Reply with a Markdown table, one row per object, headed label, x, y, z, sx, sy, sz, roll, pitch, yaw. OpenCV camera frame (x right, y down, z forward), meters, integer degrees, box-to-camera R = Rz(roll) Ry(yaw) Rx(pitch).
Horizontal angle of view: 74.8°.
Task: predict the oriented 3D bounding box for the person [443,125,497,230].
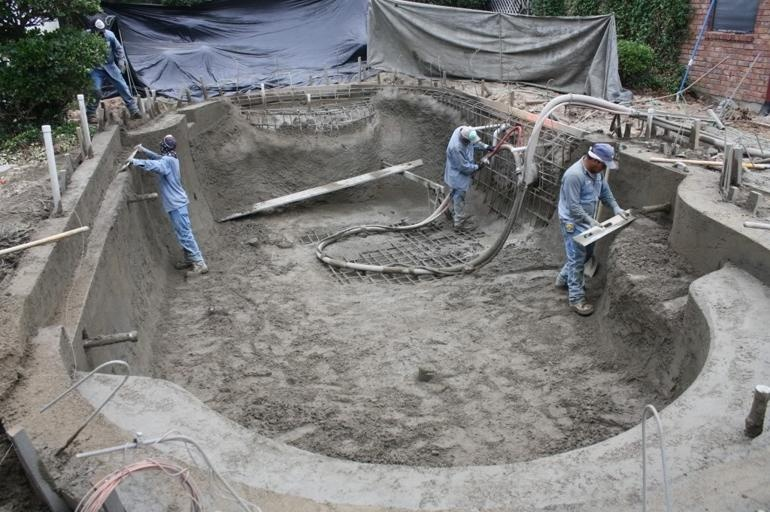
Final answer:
| label | x | y | z | sx | sy | sz | roll | pitch | yaw |
| --- | --- | --- | --- | --- | --- | --- | --- | --- | --- |
| person | 1.516 | -1.404 | 9.008 | 0.817 | 1.925 | 0.667 | 3 | 36 | 9 |

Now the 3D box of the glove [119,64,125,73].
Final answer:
| label | x | y | z | sx | sy | sz | roll | pitch | yaw |
| --- | --- | --- | --- | --- | --- | --- | --- | --- | --- |
| glove | -5.006 | -3.592 | 9.684 | 0.101 | 0.131 | 0.030 | -3 | 15 | 12 |

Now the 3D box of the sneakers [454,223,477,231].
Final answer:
| label | x | y | z | sx | sy | sz | roll | pitch | yaw |
| --- | --- | --- | --- | --- | --- | --- | --- | --- | --- |
| sneakers | 1.409 | -0.500 | 8.883 | 0.376 | 0.167 | 0.161 | -5 | 27 | -4 |

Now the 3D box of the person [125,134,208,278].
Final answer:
| label | x | y | z | sx | sy | sz | roll | pitch | yaw |
| --- | --- | --- | --- | --- | --- | --- | --- | --- | --- |
| person | -3.393 | -0.810 | 7.908 | 0.707 | 1.955 | 1.480 | -15 | 36 | -19 |

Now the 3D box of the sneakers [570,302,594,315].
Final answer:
| label | x | y | z | sx | sy | sz | roll | pitch | yaw |
| --- | --- | --- | --- | --- | --- | --- | --- | --- | --- |
| sneakers | 2.468 | 0.652 | 6.359 | 0.131 | 0.105 | 0.255 | -12 | 16 | -25 |

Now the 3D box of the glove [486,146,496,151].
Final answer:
| label | x | y | z | sx | sy | sz | roll | pitch | yaw |
| --- | --- | --- | --- | --- | --- | --- | --- | --- | --- |
| glove | 1.766 | -1.800 | 8.463 | 0.132 | 0.067 | 0.179 | 0 | 16 | -2 |

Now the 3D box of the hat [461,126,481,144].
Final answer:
| label | x | y | z | sx | sy | sz | roll | pitch | yaw |
| --- | --- | --- | --- | --- | --- | --- | --- | --- | --- |
| hat | 1.414 | -2.002 | 8.488 | 0.296 | 0.330 | 0.307 | 11 | 36 | 18 |

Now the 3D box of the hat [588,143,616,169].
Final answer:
| label | x | y | z | sx | sy | sz | roll | pitch | yaw |
| --- | --- | --- | --- | --- | --- | --- | --- | --- | --- |
| hat | 2.573 | -1.186 | 5.997 | 0.307 | 0.279 | 0.276 | 15 | 37 | 23 |

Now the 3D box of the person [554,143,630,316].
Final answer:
| label | x | y | z | sx | sy | sz | roll | pitch | yaw |
| --- | --- | --- | --- | --- | --- | --- | --- | --- | --- |
| person | 2.484 | -0.366 | 6.297 | 0.711 | 1.970 | 1.161 | 11 | 36 | 18 |

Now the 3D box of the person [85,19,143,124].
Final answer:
| label | x | y | z | sx | sy | sz | roll | pitch | yaw |
| --- | --- | --- | --- | --- | --- | --- | --- | --- | --- |
| person | -5.312 | -3.523 | 9.577 | 0.838 | 1.582 | 1.843 | -17 | 37 | -21 |
